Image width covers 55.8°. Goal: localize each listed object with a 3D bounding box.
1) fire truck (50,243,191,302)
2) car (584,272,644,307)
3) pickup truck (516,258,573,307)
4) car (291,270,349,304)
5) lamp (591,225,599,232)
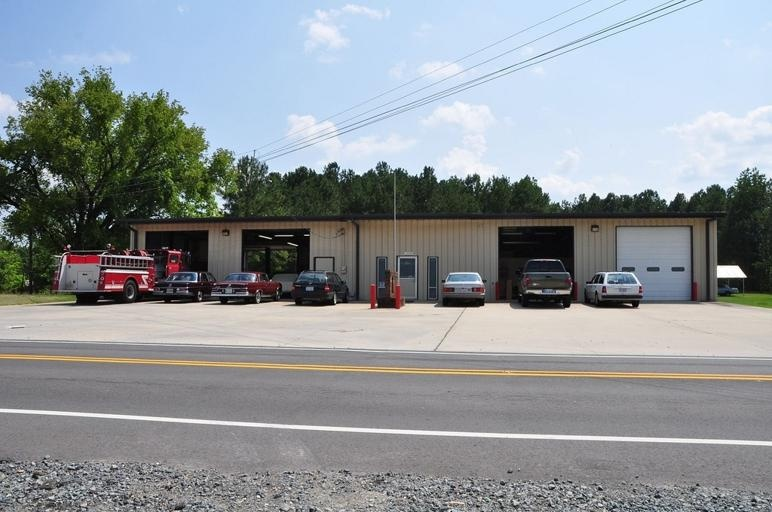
[{"bbox_3d":[-12.699,0.940,35.316,2.717,2.762,8.166,-2,-2,-4],"label":"fire truck"},{"bbox_3d":[10.222,1.498,33.257,1.880,1.512,4.521,0,0,4],"label":"car"},{"bbox_3d":[7.085,1.177,32.767,2.049,2.049,4.478,1,1,7],"label":"pickup truck"},{"bbox_3d":[-3.126,1.541,35.350,1.958,1.600,4.633,1,-1,6],"label":"car"},{"bbox_3d":[10.603,-1.360,37.082,0.423,0.341,0.134,-1,9,-7],"label":"lamp"}]
